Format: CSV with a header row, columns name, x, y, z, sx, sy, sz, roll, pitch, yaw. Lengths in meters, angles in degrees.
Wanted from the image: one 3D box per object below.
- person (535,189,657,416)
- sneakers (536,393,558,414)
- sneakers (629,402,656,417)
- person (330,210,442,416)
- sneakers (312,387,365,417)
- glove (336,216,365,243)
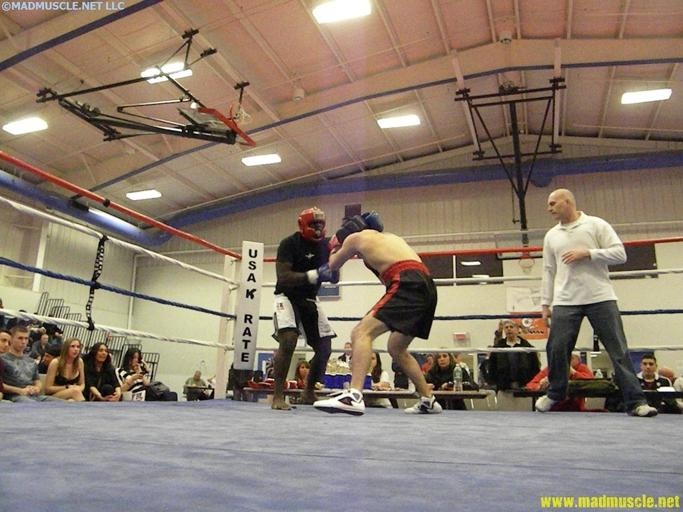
name,x,y,z,sx,sy,sz,roll,pitch,yaw
person,1.473,0.257,2.938,0.572,1.348,0.486,2,-18,12
sneakers,1.267,0.915,3.059,0.115,0.093,0.271,-2,-11,19
sneakers,1.616,0.824,2.641,0.132,0.069,0.131,-6,-16,32
person,0.226,0.266,2.714,0.643,1.175,0.642,3,-17,8
sneakers,0.000,0.697,2.355,0.214,0.129,0.204,2,-14,7
glove,0.051,-0.156,2.907,0.224,0.142,0.139,-5,-25,-1
